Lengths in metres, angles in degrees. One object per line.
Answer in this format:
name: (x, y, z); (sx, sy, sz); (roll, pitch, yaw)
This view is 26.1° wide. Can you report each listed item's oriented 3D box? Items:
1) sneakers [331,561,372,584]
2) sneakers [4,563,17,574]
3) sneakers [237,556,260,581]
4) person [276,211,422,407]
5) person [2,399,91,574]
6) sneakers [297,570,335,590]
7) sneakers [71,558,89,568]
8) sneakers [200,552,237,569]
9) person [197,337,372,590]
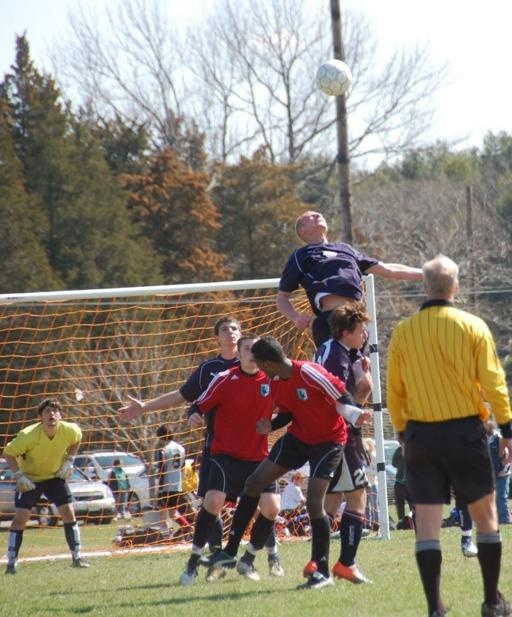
sneakers: (0.745, 2.046, 8.561); (0.315, 0.159, 0.118); (26, -14, 0)
sneakers: (-2.393, 2.579, 10.867); (0.123, 0.130, 0.091); (11, -33, -18)
sneakers: (-0.052, 2.114, 8.932); (0.099, 0.136, 0.314); (0, -28, 32)
person: (0.931, 0.101, 9.157); (1.406, 2.011, 0.604); (-4, -25, -3)
person: (-2.101, 1.767, 11.138); (0.814, 1.691, 0.530); (0, -7, -10)
sneakers: (0.460, 2.040, 8.308); (0.252, 0.116, 0.111); (2, -9, -28)
sneakers: (-1.739, 2.530, 11.057); (0.147, 0.150, 0.112); (1, -2, -12)
sneakers: (-0.274, 2.039, 8.910); (0.317, 0.156, 0.122); (5, -17, -1)
person: (0.386, 1.160, 8.369); (0.908, 1.879, 0.645); (-2, -7, 4)
